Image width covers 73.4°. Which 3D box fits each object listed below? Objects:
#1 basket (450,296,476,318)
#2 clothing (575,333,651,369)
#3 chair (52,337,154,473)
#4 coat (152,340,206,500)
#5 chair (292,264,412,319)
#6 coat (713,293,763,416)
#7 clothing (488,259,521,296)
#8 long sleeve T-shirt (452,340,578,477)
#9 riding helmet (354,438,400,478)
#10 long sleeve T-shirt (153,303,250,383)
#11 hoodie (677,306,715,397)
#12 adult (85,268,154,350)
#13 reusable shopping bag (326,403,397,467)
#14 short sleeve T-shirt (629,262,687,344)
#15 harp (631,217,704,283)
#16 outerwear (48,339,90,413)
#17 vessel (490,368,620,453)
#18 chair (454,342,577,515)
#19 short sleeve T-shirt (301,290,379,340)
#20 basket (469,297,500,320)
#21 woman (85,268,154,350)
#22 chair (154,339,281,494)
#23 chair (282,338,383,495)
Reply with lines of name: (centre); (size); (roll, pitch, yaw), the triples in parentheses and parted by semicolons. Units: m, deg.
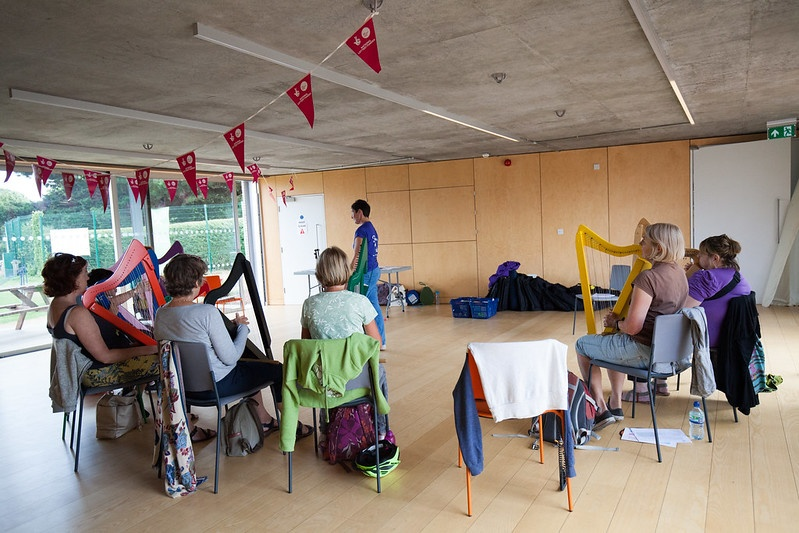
basket: (1.098, 0.741, 9.618); (0.323, 0.264, 0.367); (1, -6, -5)
clothing: (1.890, 0.725, 4.736); (0.457, 0.174, 0.267); (7, 0, 20)
chair: (-3.017, 1.306, 5.341); (1.107, 1.306, 1.354); (-3, 5, -35)
coat: (-1.835, 1.238, 4.387); (0.343, 1.269, 0.237); (-6, 6, -8)
chair: (-0.687, 0.369, 11.044); (1.463, 0.863, 1.461); (0, 0, 18)
coat: (3.076, 0.774, 4.876); (0.401, 0.886, 0.354); (4, 1, -8)
clothing: (2.063, 0.197, 10.412); (0.330, 0.740, 0.496); (20, -15, -39)
long sleeve T-shirt: (0.925, 1.159, 4.235); (1.152, 1.150, 0.544); (0, 7, 4)
riding helmet: (-0.174, 1.611, 4.480); (0.287, 0.145, 0.376); (-1, 18, 44)
long sleeve T-shirt: (-1.675, 0.668, 4.748); (0.561, 0.560, 0.768); (-1, -7, 3)
hoodie: (2.549, 0.756, 4.605); (0.246, 0.818, 0.214); (-2, 7, 23)
adult: (-2.888, 0.406, 5.311); (0.259, 0.857, 0.659); (-23, 2, 8)
reusable shopping bag: (-0.338, 1.536, 4.776); (0.581, 0.516, 0.553); (-1, -21, -3)
short sleeve T-shirt: (2.225, 0.335, 4.608); (0.694, 0.671, 0.367); (-1, 8, -37)
harp: (2.348, -0.180, 4.976); (0.389, 0.309, 0.773); (-7, -15, 21)
outerwear: (-3.042, 0.993, 4.929); (0.498, 0.712, 0.222); (-2, 7, 30)
vessel: (1.370, 1.286, 4.751); (1.066, 0.635, 0.861); (-1, 4, -23)
chair: (0.836, 1.257, 4.392); (1.144, 1.233, 1.143); (-3, -5, 7)
short sleeve T-shirt: (-0.507, 0.498, 4.562); (0.675, 0.601, 0.348); (-4, 4, 7)
basket: (1.473, 0.735, 9.428); (0.306, 0.235, 0.437); (2, 4, 22)
woman: (-2.881, 0.413, 5.315); (0.259, 0.857, 0.659); (-23, 2, 8)
chair: (-1.500, 1.352, 4.701); (1.157, 1.425, 1.018); (0, -32, -27)
chair: (-0.589, 1.199, 4.568); (0.919, 1.194, 0.892); (-3, -1, -11)
